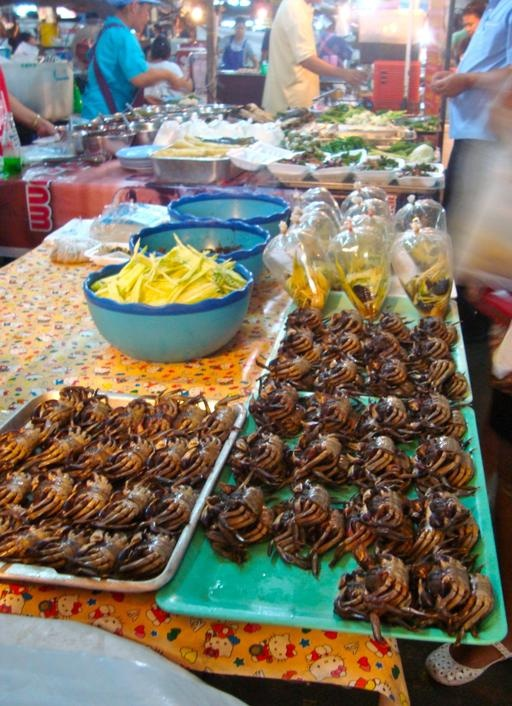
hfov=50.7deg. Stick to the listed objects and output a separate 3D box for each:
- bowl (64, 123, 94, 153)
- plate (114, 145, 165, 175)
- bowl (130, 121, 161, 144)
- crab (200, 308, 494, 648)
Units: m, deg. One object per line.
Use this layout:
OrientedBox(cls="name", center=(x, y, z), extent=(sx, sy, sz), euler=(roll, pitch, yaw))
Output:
OrientedBox(cls="bowl", center=(-0.990, -1.206, 2.994), extent=(0.090, 0.173, 0.147), euler=(5, 5, -15))
OrientedBox(cls="plate", center=(-0.615, -1.019, 2.825), extent=(0.220, 0.152, 0.382), euler=(-2, 18, -9))
OrientedBox(cls="bowl", center=(-0.666, -1.350, 3.287), extent=(0.149, 0.108, 0.142), euler=(0, 34, 0))
OrientedBox(cls="crab", center=(0.173, 0.112, 0.903), extent=(0.473, 0.175, 0.789), euler=(1, 18, 2))
